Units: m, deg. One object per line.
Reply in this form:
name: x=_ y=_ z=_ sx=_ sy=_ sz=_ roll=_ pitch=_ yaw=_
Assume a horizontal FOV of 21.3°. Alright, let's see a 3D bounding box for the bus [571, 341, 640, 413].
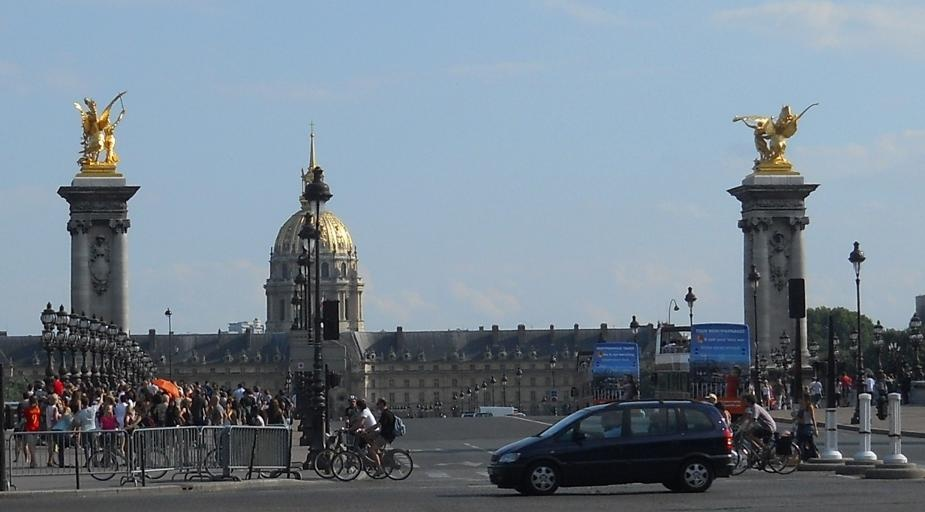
bus: x=11.253 y=7.678 z=159.084 sx=5.415 sy=5.110 sz=12.086 roll=0 pitch=-7 yaw=-5
